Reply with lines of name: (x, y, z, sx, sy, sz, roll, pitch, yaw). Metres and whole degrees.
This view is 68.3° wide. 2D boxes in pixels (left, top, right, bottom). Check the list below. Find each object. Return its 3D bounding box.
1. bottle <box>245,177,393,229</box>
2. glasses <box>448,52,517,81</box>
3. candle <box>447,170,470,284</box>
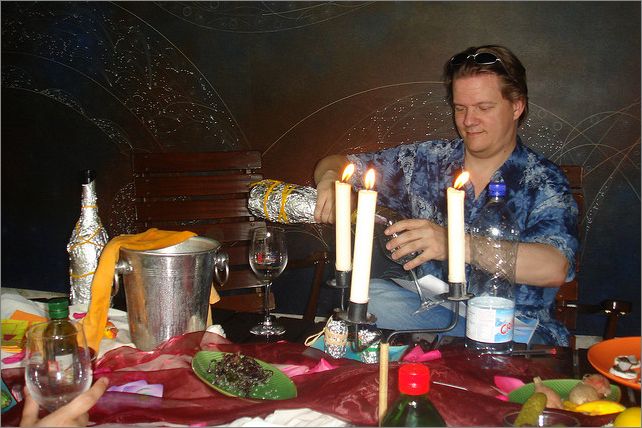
bottle: (-0.041, -0.031, 1.515, 0.531, 0.139, 0.154, 10, 3, 5)
glasses: (0.693, -0.656, 2.071, 0.257, 0.124, 0.116, -1, -3, 16)
candle: (0.329, 0.031, 1.135, 0.048, 0.264, 0.173, -1, -3, 16)
